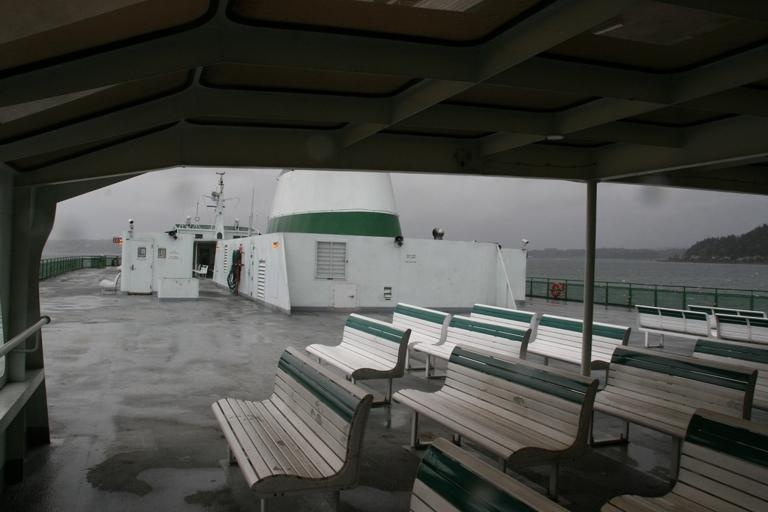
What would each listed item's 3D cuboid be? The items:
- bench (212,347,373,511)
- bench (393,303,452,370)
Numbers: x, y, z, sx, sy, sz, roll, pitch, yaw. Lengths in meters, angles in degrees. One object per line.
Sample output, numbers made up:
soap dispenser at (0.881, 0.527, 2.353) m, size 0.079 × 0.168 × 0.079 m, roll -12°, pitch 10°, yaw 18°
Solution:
bench at (-0.932, 1.578, 4.454) m, size 0.844 × 1.019 × 1.788 m, roll 2°, pitch 2°, yaw -31°
bench at (0.684, 1.431, 8.502) m, size 0.516 × 0.754 × 1.199 m, roll 2°, pitch 2°, yaw -25°
